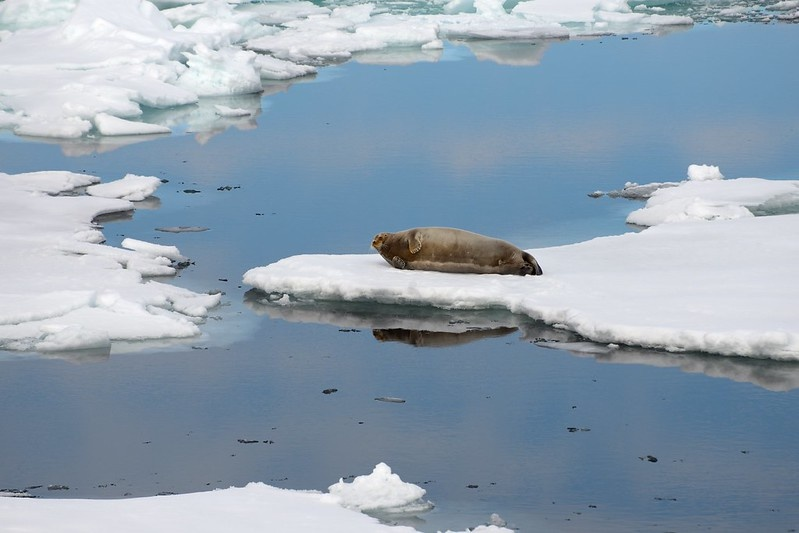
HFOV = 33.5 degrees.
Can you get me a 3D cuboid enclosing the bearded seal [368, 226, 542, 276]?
[{"bbox_3d":[0.940,-0.251,21.938,2.486,0.442,0.975,3,-21,12],"label":"bearded seal"}]
